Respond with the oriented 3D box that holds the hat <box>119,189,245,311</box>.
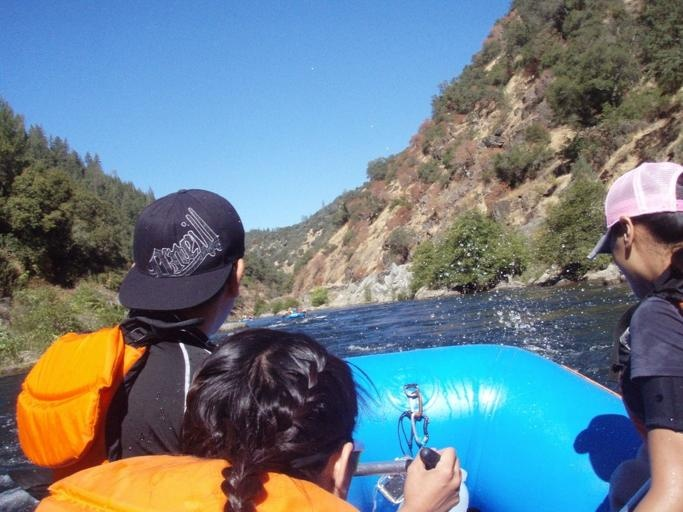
[{"bbox_3d":[-0.686,-0.075,2.139,0.479,0.378,0.674,2,24,11],"label":"hat"}]
